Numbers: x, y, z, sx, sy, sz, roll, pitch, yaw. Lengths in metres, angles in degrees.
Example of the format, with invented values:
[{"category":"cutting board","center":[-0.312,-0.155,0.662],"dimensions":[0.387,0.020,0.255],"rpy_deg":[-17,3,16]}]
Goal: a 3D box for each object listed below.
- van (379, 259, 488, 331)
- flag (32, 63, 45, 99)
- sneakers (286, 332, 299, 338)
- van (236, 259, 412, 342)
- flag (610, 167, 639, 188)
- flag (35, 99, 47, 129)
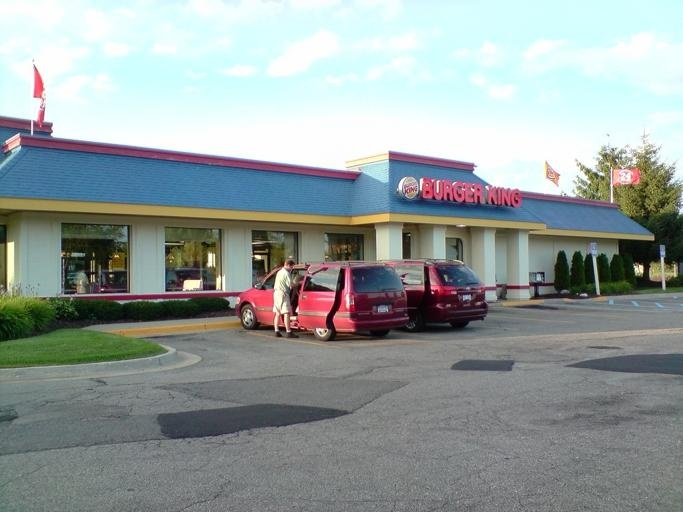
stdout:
[{"category":"van","center":[2.941,1.151,16.821],"dimensions":[1.946,1.546,3.447],"rpy_deg":[0,1,-42]},{"category":"flag","center":[-13.079,-7.418,21.446],"dimensions":[0.354,1.356,0.830],"rpy_deg":[0,-1,-28]},{"category":"sneakers","center":[-1.518,2.353,15.070],"dimensions":[0.433,0.276,0.160],"rpy_deg":[-1,0,-12]},{"category":"van","center":[-0.536,1.275,15.353],"dimensions":[4.616,1.717,2.317],"rpy_deg":[2,0,43]},{"category":"flag","center":[25.384,-7.176,44.628],"dimensions":[2.040,1.348,1.773],"rpy_deg":[-1,-1,29]},{"category":"flag","center":[-13.256,-6.275,21.825],"dimensions":[0.280,1.249,0.507],"rpy_deg":[0,-1,-19]}]
